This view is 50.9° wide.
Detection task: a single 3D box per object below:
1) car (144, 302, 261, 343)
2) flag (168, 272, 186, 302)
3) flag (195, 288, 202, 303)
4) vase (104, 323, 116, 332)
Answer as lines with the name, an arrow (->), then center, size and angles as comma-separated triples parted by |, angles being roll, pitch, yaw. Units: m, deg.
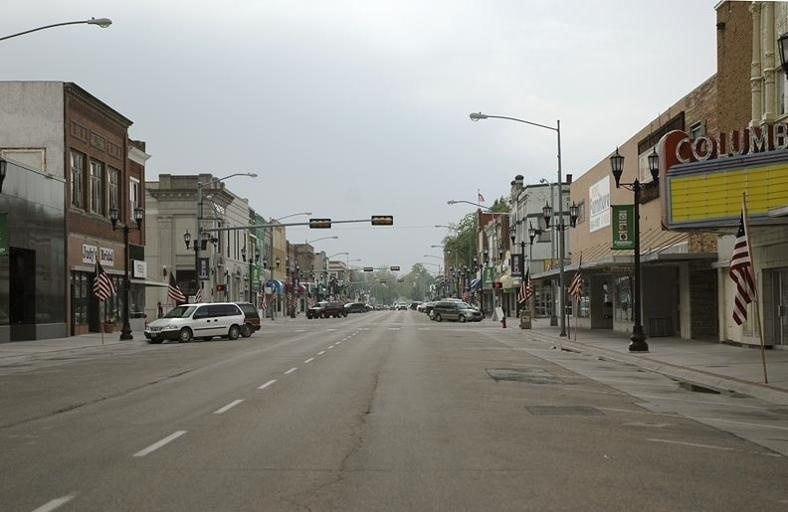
car -> -10.816, 3.697, 45.976 | 2.561, 1.933, 5.431 | -7, -10, 37
flag -> -15.770, 2.271, 60.084 | 0.267, 2.589, 2.175 | -7, -11, 25
flag -> -12.742, 2.519, 53.622 | 0.343, 0.813, 0.558 | 2, -8, -23
vase -> -18.158, 4.556, 52.690 | 0.567, 0.414, 0.567 | 2, -15, -38
